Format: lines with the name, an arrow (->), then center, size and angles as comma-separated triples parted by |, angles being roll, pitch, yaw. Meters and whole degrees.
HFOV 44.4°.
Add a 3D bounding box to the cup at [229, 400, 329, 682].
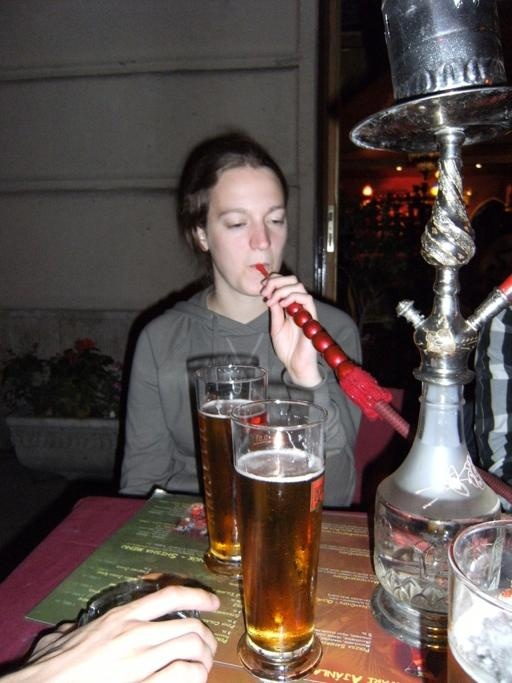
cup -> 0.032, 0.252, 0.795 | 0.145, 0.315, 0.116 | -8, 7, -5
